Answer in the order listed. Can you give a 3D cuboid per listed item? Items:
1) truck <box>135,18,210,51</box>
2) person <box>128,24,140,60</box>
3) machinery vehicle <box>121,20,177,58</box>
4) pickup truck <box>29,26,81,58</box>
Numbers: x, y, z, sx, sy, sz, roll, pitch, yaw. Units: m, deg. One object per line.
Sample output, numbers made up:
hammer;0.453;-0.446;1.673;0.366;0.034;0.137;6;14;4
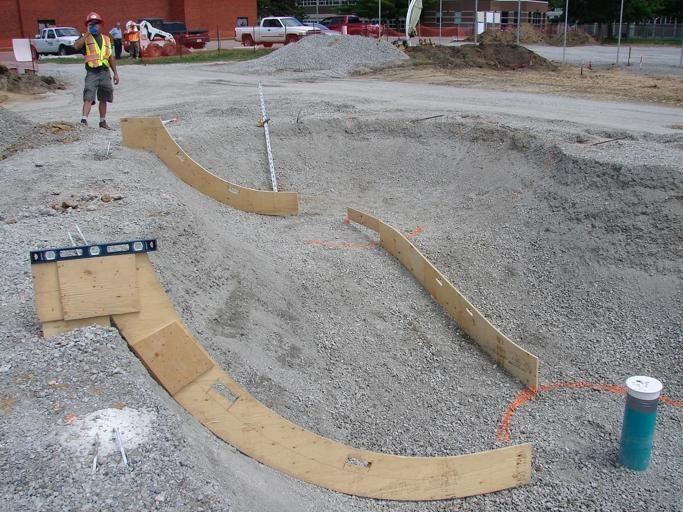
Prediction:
truck;-10.529;-14.019;33.985;5.769;2.100;2.660;-3;31;-10
person;-11.890;-12.369;29.903;0.687;1.936;1.255;-6;24;-17
machinery vehicle;-10.894;-12.845;30.464;2.998;1.380;1.363;4;47;-3
pickup truck;-17.582;-13.303;32.134;2.344;1.742;1.999;-8;23;-23
